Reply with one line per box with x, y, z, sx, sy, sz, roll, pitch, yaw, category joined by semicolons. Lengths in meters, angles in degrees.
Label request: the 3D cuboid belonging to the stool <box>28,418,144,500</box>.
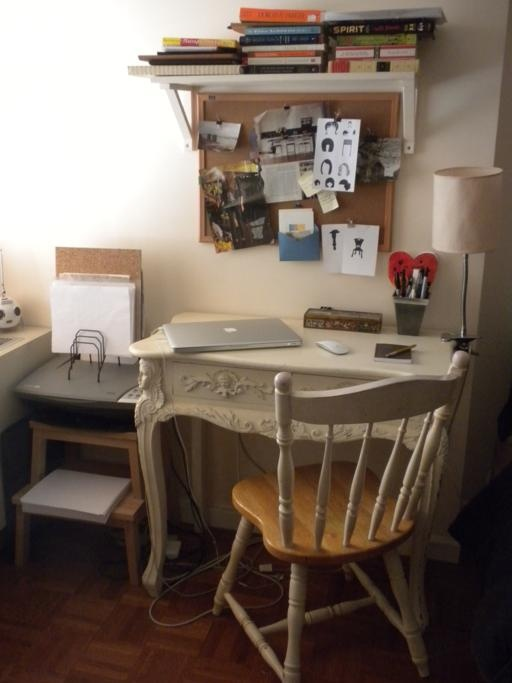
-0.557;0.380;1.820;0.340;0.219;0.247;3;3;10;stool

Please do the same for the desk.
0.130;0.527;1.835;1.127;0.924;0.685;4;14;16;desk

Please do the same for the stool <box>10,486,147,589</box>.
-0.543;0.588;1.753;0.308;0.196;0.324;0;1;27;stool

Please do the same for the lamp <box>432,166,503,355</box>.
0.542;-0.215;1.484;0.158;0.461;0.257;1;16;18;lamp
